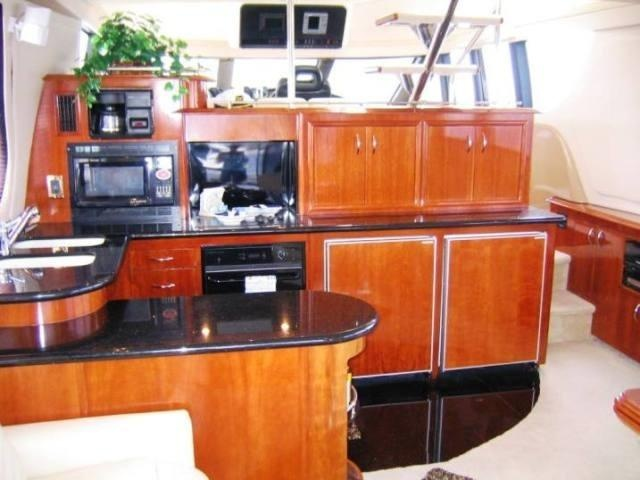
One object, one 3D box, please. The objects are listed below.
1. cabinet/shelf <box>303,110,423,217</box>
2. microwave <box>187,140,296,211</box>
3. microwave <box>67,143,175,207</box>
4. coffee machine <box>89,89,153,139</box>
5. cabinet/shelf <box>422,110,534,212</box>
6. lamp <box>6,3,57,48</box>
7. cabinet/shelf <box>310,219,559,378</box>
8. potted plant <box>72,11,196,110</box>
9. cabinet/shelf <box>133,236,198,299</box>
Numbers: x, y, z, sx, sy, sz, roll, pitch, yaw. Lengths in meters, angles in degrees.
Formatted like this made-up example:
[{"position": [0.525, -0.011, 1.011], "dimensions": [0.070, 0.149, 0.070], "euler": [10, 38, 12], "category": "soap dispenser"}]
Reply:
[{"position": [0.282, -0.590, 4.072], "dimensions": [0.941, 0.744, 0.556], "euler": [-3, 9, -15], "category": "cabinet/shelf"}, {"position": [-0.614, -0.388, 4.305], "dimensions": [0.878, 0.561, 0.514], "euler": [0, 11, -5], "category": "microwave"}, {"position": [-1.461, -0.492, 3.878], "dimensions": [0.809, 0.496, 0.474], "euler": [0, 9, -5], "category": "microwave"}, {"position": [-1.466, -0.931, 3.973], "dimensions": [0.591, 0.419, 0.320], "euler": [-1, 10, -6], "category": "coffee machine"}, {"position": [1.148, -0.607, 4.103], "dimensions": [0.862, 0.725, 0.320], "euler": [-2, 8, -8], "category": "cabinet/shelf"}, {"position": [-1.971, -1.434, 3.617], "dimensions": [0.262, 0.319, 0.300], "euler": [9, 11, -36], "category": "lamp"}, {"position": [0.780, 0.424, 3.981], "dimensions": [1.827, 1.050, 0.629], "euler": [-1, 4, -13], "category": "cabinet/shelf"}, {"position": [-1.417, -1.343, 3.891], "dimensions": [0.780, 0.698, 0.614], "euler": [-6, 11, -25], "category": "potted plant"}, {"position": [-1.090, 0.198, 3.644], "dimensions": [0.443, 0.411, 0.299], "euler": [-2, 25, -18], "category": "cabinet/shelf"}]
